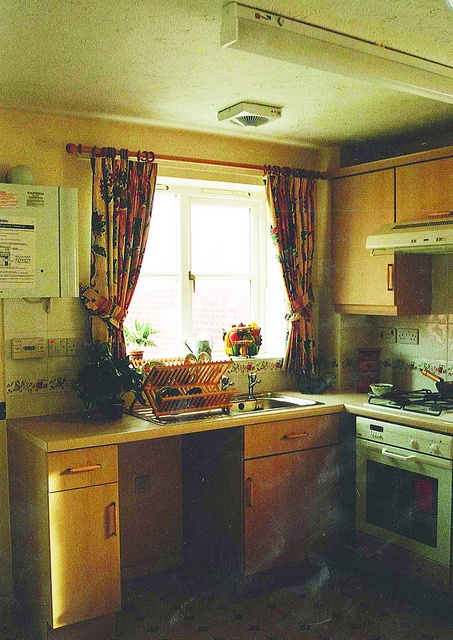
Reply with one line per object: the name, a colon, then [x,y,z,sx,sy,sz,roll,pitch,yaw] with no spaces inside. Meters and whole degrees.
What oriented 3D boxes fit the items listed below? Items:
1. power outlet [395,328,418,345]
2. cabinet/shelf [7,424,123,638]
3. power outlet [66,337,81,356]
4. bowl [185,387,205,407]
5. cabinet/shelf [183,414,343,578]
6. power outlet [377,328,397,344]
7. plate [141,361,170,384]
power outlet: [1.091,0.097,3.220,0.009,0.104,0.177,1,1,-27]
cabinet/shelf: [-0.665,0.855,2.182,0.309,0.715,0.498,1,0,-37]
power outlet: [-0.736,0.127,2.556,0.017,0.077,0.067,1,-1,39]
bowl: [-0.149,0.368,2.518,0.088,0.084,0.199,1,1,-4]
cabinet/shelf: [0.267,0.814,2.791,0.610,0.731,0.464,-2,5,-24]
power outlet: [1.016,0.096,3.348,0.006,0.105,0.133,1,1,-29]
plate: [-0.368,0.255,2.607,0.019,0.088,0.081,11,-2,34]
